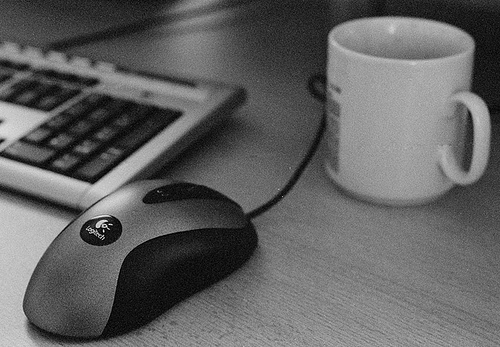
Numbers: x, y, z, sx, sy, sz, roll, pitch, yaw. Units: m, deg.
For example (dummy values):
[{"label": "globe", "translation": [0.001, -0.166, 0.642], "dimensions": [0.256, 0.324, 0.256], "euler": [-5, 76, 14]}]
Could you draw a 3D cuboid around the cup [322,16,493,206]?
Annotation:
[{"label": "cup", "translation": [0.093, -0.066, 0.388], "dimensions": [0.125, 0.123, 0.187], "euler": [-13, 25, -25]}]

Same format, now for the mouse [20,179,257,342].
[{"label": "mouse", "translation": [-0.067, 0.047, 0.298], "dimensions": [0.087, 0.040, 0.137], "euler": [33, 43, 33]}]
